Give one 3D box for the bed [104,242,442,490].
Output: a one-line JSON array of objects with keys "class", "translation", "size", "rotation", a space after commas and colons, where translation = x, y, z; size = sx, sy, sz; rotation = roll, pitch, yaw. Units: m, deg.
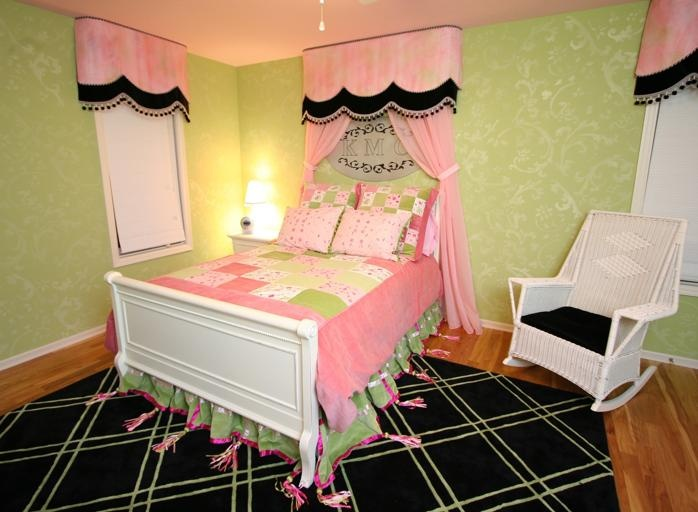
[{"class": "bed", "translation": [-0.436, 0.504, 4.018], "size": [2.347, 0.913, 2.777], "rotation": [10, 15, 34]}]
